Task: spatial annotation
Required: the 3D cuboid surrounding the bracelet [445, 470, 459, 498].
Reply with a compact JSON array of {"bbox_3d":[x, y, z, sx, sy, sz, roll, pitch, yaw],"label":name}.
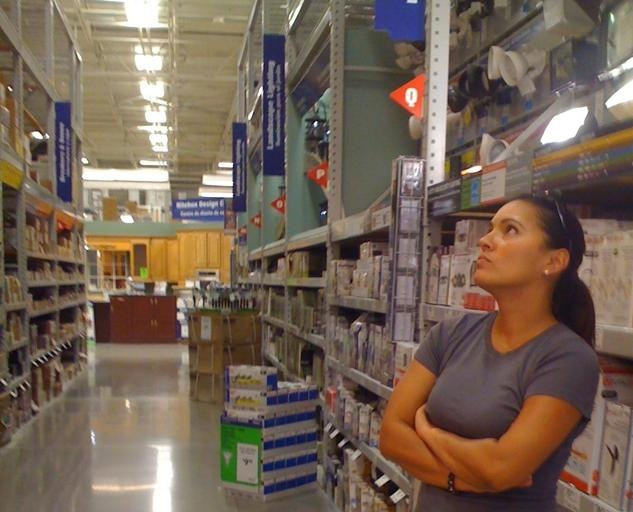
[{"bbox_3d":[0.378,0.634,1.453,0.015,0.049,0.038,5,-40,7],"label":"bracelet"}]
